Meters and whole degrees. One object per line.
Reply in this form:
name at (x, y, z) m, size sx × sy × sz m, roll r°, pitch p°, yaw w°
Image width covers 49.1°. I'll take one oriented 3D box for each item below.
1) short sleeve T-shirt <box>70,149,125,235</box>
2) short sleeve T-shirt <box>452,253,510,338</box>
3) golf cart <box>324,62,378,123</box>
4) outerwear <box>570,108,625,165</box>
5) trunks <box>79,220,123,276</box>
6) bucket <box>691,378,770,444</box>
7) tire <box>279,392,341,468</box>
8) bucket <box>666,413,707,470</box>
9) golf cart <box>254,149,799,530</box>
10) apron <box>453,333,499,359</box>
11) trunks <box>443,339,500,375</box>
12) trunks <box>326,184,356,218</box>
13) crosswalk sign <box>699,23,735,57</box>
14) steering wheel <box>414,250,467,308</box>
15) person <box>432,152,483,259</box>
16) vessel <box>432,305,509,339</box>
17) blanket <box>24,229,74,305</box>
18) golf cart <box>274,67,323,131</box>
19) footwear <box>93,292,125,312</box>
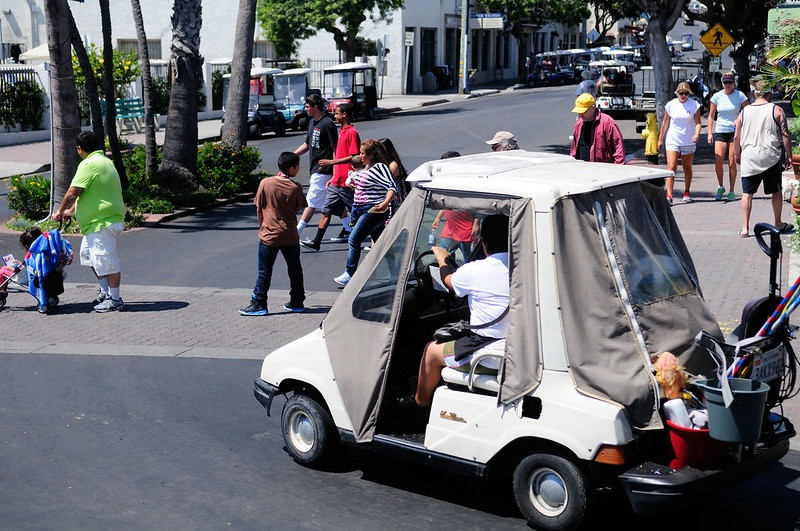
short sleeve T-shirt at (-3.922, -0.943, 11.297) m, size 0.611 × 1.055 × 0.293 m, roll -6°, pitch 12°, yaw -19°
short sleeve T-shirt at (0.664, 0.257, 7.185) m, size 0.610 × 0.608 × 0.355 m, roll -3°, pitch 9°, yaw 8°
golf cart at (-2.236, -7.326, 36.966) m, size 1.636 × 2.355 × 2.541 m, roll 2°, pitch 17°, yaw 19°
outerwear at (2.910, -1.907, 13.086) m, size 0.924 × 0.751 × 0.447 m, roll 14°, pitch 34°, yaw 36°
trunks at (-3.851, -0.189, 11.347) m, size 0.560 × 0.928 × 1.007 m, roll 0°, pitch 1°, yaw -24°
bucket at (2.429, 1.052, 6.455) m, size 0.505 × 0.367 × 0.443 m, roll 1°, pitch 3°, yaw 26°
tire at (-0.778, 1.446, 7.690) m, size 0.645 × 0.663 × 0.230 m, roll -2°, pitch 9°, yaw 46°
bucket at (2.142, 1.349, 6.654) m, size 0.302 × 0.254 × 0.313 m, roll 0°, pitch 6°, yaw 0°
golf cart at (1.102, 0.343, 7.833) m, size 4.200 × 2.502 × 2.577 m, roll 7°, pitch 10°, yaw 31°
apron at (0.569, 0.635, 7.114) m, size 0.254 × 0.077 × 0.221 m, roll -17°, pitch 22°, yaw -8°
trunks at (0.576, 0.748, 7.120) m, size 0.343 × 0.145 × 0.279 m, roll 0°, pitch 8°, yaw 9°
trunks at (-0.934, -1.035, 13.549) m, size 0.505 × 0.481 × 0.206 m, roll 13°, pitch 31°, yaw 13°
crosswalk sign at (8.525, -6.118, 23.699) m, size 1.005 × 0.983 × 0.093 m, roll -2°, pitch 9°, yaw -13°
steering wheel at (0.318, 0.018, 7.909) m, size 0.488 × 0.146 × 0.500 m, roll 27°, pitch 32°, yaw -19°
person at (0.562, -0.438, 9.399) m, size 0.560 × 1.412 × 0.399 m, roll -6°, pitch 30°, yaw -2°
vessel at (0.592, 0.506, 7.178) m, size 0.480 × 0.197 × 0.294 m, roll -11°, pitch 12°, yaw 9°
blanket at (-4.682, 0.034, 11.579) m, size 0.500 × 1.028 × 0.649 m, roll 1°, pitch 7°, yaw 3°
golf cart at (-4.248, -6.644, 34.784) m, size 1.815 × 2.471 × 2.726 m, roll 2°, pitch 18°, yaw 7°
footwear at (-3.788, 0.502, 11.378) m, size 0.394 × 0.197 × 0.164 m, roll 1°, pitch 10°, yaw -5°
